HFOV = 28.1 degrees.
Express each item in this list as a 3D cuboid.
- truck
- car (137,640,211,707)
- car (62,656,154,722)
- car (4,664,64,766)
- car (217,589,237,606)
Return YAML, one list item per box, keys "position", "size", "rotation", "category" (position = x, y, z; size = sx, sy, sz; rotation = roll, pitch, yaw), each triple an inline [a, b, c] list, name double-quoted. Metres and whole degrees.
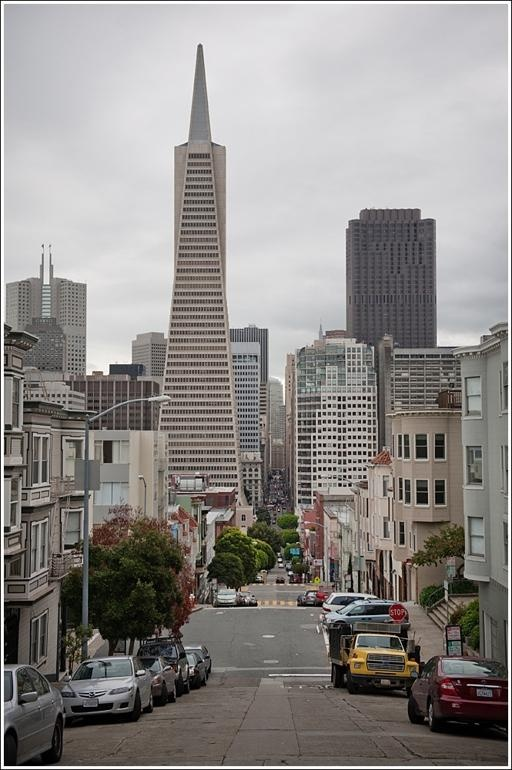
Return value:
- position: [2.837, 6.521, 24.435]
  size: [1.138, 1.346, 2.509]
  rotation: [1, -13, -4]
  category: "truck"
- position: [-2.239, 7.684, 27.781]
  size: [1.136, 1.388, 3.082]
  rotation: [-5, -23, 5]
  category: "car"
- position: [-2.866, 5.876, 19.640]
  size: [1.581, 1.092, 1.828]
  rotation: [0, -6, -9]
  category: "car"
- position: [-3.042, 4.566, 13.893]
  size: [0.571, 1.455, 2.299]
  rotation: [-1, -6, -3]
  category: "car"
- position: [-1.956, 14.614, 69.645]
  size: [1.368, 0.924, 2.219]
  rotation: [-1, -7, -4]
  category: "car"
